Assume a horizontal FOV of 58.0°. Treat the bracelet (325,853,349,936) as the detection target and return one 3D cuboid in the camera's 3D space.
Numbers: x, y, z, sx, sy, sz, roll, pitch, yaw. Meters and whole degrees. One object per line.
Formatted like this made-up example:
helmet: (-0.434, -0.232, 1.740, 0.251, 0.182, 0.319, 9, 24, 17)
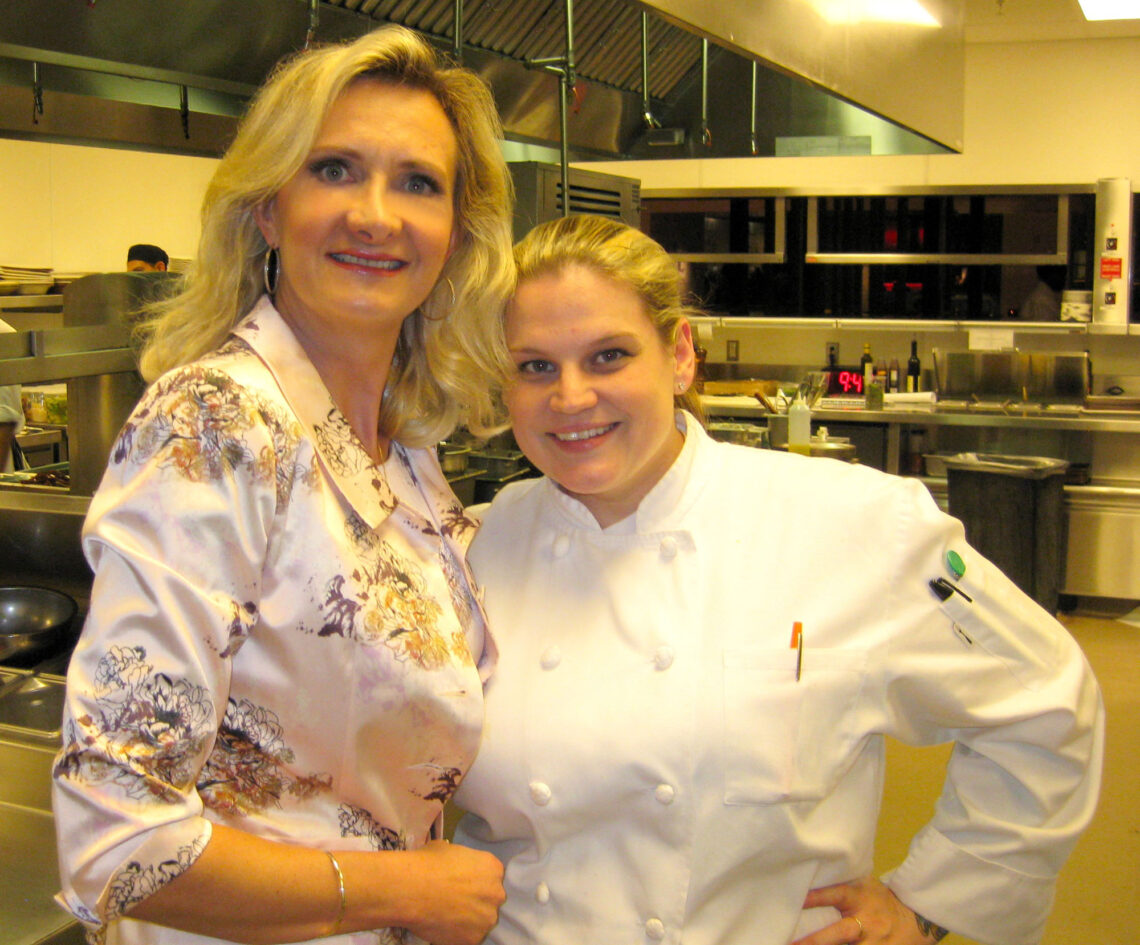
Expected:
bracelet: (-0.260, 0.465, 1.151, 0.016, 0.057, 0.055, 5, -31, -19)
